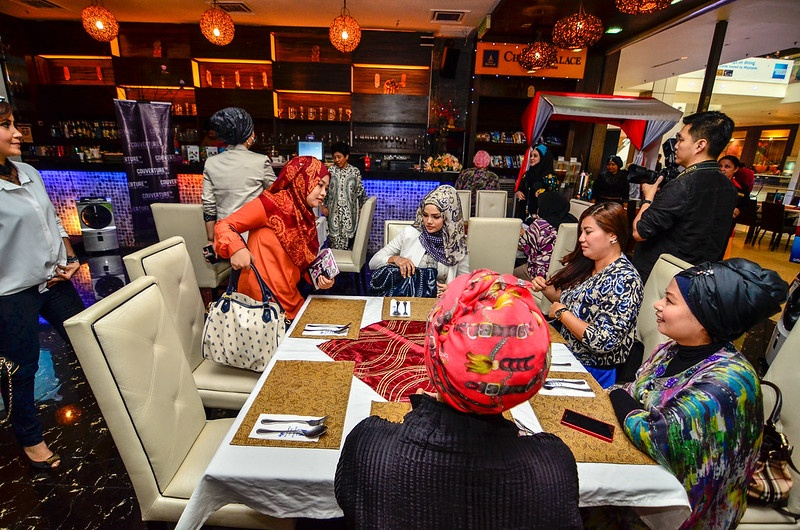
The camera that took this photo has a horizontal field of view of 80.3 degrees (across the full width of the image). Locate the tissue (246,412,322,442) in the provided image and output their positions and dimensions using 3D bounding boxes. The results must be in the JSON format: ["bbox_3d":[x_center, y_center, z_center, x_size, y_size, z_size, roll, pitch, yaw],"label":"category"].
[{"bbox_3d":[-0.556,0.805,2.339,0.273,0.040,0.138,4,38,-2],"label":"tissue"}]

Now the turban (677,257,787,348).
[{"bbox_3d":[1.643,0.179,2.422,0.375,0.422,0.402,7,21,-12],"label":"turban"}]

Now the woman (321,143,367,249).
[{"bbox_3d":[-0.707,-0.766,5.668,0.573,1.264,0.286,-6,33,-16],"label":"woman"}]

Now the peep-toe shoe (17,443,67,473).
[{"bbox_3d":[-2.252,1.253,3.075,0.348,0.136,0.112,3,7,4],"label":"peep-toe shoe"}]

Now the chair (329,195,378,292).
[{"bbox_3d":[-0.536,-0.140,4.856,0.722,1.021,0.691,1,9,-10],"label":"chair"}]

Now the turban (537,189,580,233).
[{"bbox_3d":[1.770,-0.592,5.226,0.322,0.124,0.376,4,33,-39],"label":"turban"}]

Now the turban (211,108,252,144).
[{"bbox_3d":[-1.402,-1.153,3.980,0.324,0.299,0.170,-6,18,-22],"label":"turban"}]

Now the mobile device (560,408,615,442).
[{"bbox_3d":[0.950,0.808,2.396,0.235,0.032,0.116,20,30,18],"label":"mobile device"}]

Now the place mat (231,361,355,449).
[{"bbox_3d":[-0.497,0.696,2.501,0.332,0.004,0.496,5,34,5],"label":"place mat"}]

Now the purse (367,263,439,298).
[{"bbox_3d":[0.027,0.110,3.508,0.365,0.130,0.247,1,9,7],"label":"purse"}]

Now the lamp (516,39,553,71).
[{"bbox_3d":[2.041,-3.093,7.094,0.440,0.256,0.488,-5,17,7],"label":"lamp"}]

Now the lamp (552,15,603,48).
[{"bbox_3d":[2.270,-2.992,6.057,0.492,0.318,0.487,16,34,34],"label":"lamp"}]

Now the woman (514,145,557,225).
[{"bbox_3d":[1.954,-0.979,6.949,0.532,1.437,0.513,19,38,30],"label":"woman"}]

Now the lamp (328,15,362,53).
[{"bbox_3d":[-0.762,-3.211,6.552,0.367,0.412,0.349,-2,17,-8],"label":"lamp"}]

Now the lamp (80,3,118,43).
[{"bbox_3d":[-4.026,-3.243,6.348,0.298,0.378,0.335,5,17,13],"label":"lamp"}]

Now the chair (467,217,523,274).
[{"bbox_3d":[0.764,-0.165,3.890,0.373,0.651,0.370,1,25,0],"label":"chair"}]

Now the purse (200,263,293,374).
[{"bbox_3d":[-0.936,0.351,2.952,0.608,0.777,0.307,6,6,-6],"label":"purse"}]

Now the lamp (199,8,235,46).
[{"bbox_3d":[-2.526,-3.310,6.524,0.346,0.461,0.355,15,22,38],"label":"lamp"}]

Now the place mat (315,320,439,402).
[{"bbox_3d":[0.026,0.546,2.743,0.652,0.568,0.031,29,41,-21],"label":"place mat"}]

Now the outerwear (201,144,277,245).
[{"bbox_3d":[-1.399,-0.676,4.186,0.748,0.759,0.377,-3,9,3],"label":"outerwear"}]

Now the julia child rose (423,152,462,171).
[{"bbox_3d":[0.623,-1.456,6.924,0.454,0.288,0.441,-1,6,-28],"label":"julia child rose"}]

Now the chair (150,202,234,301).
[{"bbox_3d":[-1.558,-0.125,3.569,0.461,0.790,0.459,1,45,-2],"label":"chair"}]

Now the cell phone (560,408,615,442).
[{"bbox_3d":[0.947,0.811,2.397,0.235,0.032,0.116,20,30,18],"label":"cell phone"}]

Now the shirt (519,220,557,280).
[{"bbox_3d":[1.300,-0.185,4.349,0.311,0.537,0.419,5,24,14],"label":"shirt"}]

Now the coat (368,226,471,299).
[{"bbox_3d":[0.082,0.023,3.569,0.584,0.586,0.255,5,-19,10],"label":"coat"}]
